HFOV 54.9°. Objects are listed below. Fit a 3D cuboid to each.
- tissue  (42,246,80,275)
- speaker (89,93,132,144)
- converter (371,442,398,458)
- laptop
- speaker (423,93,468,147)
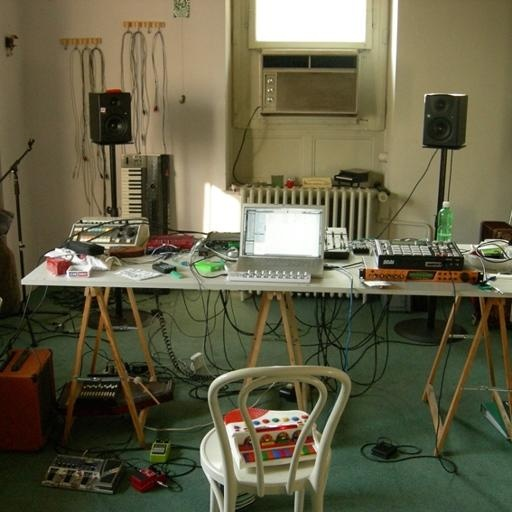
[{"bbox_3d":[-0.896,0.002,2.329,0.154,0.113,0.214,-12,18,-35],"label":"tissue "},{"bbox_3d":[-1.112,-1.054,3.762,0.331,0.489,0.315,-5,13,-29],"label":"speaker"},{"bbox_3d":[0.579,0.862,2.202,0.065,0.019,0.065,10,17,36],"label":"converter"},{"bbox_3d":[0.124,-0.065,2.371,0.406,0.345,0.092,1,-1,5],"label":"laptop"},{"bbox_3d":[1.282,-0.915,3.345,0.307,0.440,0.260,4,15,15],"label":"speaker"}]
